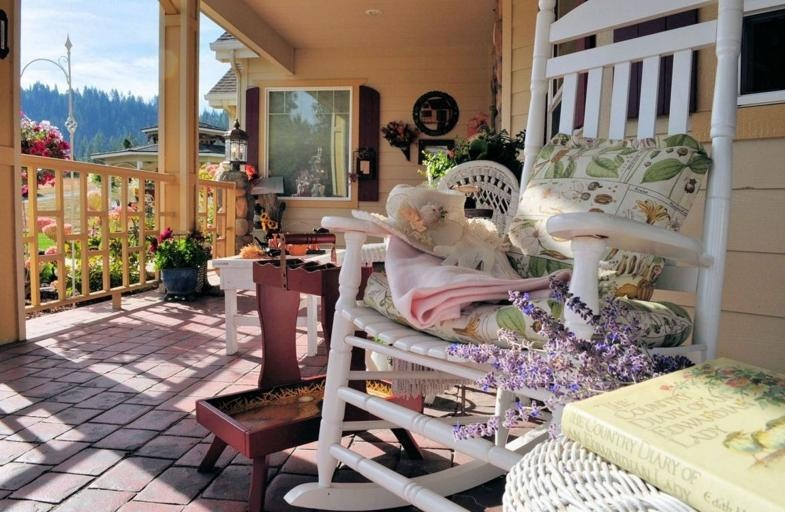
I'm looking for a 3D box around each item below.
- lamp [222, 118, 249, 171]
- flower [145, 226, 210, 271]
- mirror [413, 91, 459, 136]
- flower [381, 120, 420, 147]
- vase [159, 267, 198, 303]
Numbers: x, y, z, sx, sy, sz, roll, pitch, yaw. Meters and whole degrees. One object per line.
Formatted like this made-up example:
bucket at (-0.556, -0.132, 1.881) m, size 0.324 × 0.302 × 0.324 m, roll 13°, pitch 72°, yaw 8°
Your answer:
lamp at (-1.839, -1.311, 6.606) m, size 0.247 × 0.605 × 0.734 m, roll -5°, pitch 10°, yaw -13°
flower at (-1.944, -0.061, 5.118) m, size 0.487 × 0.355 × 0.329 m, roll -6°, pitch 11°, yaw -21°
mirror at (0.547, -1.855, 7.296) m, size 0.605 × 0.586 × 0.136 m, roll -40°, pitch 0°, yaw 16°
flower at (0.098, -1.605, 7.358) m, size 0.400 × 0.170 × 0.394 m, roll 28°, pitch 35°, yaw 34°
vase at (-1.973, 0.280, 5.171) m, size 0.431 × 0.293 × 0.399 m, roll -5°, pitch -3°, yaw 3°
